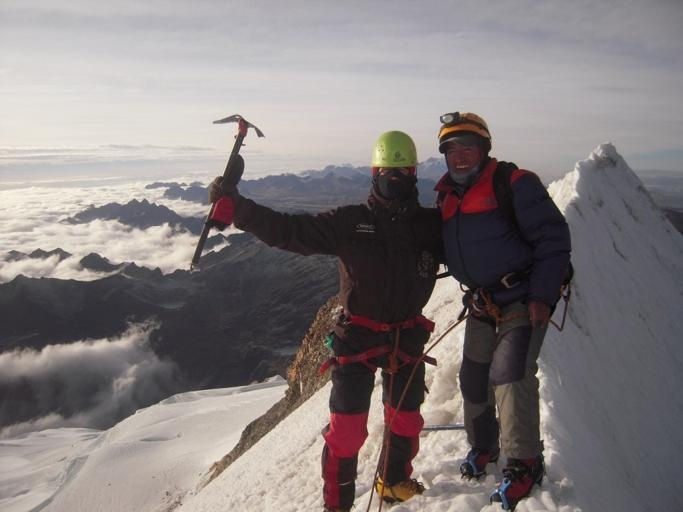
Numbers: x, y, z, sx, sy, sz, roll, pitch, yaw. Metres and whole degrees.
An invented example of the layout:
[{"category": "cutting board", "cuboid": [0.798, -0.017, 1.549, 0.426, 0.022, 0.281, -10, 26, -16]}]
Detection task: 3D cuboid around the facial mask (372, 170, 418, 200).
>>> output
[{"category": "facial mask", "cuboid": [1.224, -1.663, 13.808, 0.698, 0.470, 0.810, -1, 1, 0]}]
